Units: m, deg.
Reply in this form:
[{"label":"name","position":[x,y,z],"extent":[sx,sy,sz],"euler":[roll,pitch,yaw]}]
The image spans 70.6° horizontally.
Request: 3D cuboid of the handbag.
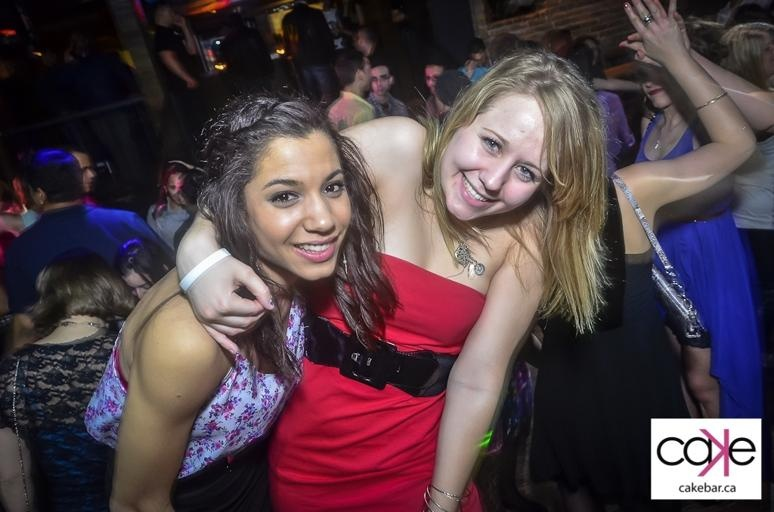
[{"label":"handbag","position":[1.356,0.230,2.561],"extent":[0.137,0.360,0.096],"euler":[-23,15,34]}]
